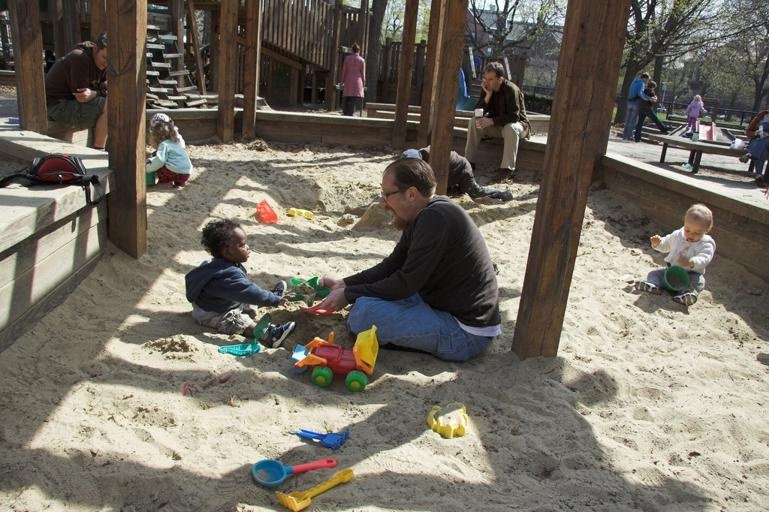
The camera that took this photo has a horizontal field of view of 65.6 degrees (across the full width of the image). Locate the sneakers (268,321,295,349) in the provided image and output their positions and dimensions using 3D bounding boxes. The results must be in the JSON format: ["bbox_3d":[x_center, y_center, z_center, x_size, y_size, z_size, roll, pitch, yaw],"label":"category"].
[{"bbox_3d":[-0.808,0.594,4.662,0.096,0.125,0.275,17,48,36],"label":"sneakers"}]

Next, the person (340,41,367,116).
[{"bbox_3d":[-0.702,-4.077,13.825,0.480,1.608,0.709,3,18,-7],"label":"person"}]

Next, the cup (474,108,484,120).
[{"bbox_3d":[1.434,-2.119,8.875,0.127,0.133,0.150,-2,9,-2],"label":"cup"}]

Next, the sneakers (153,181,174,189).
[{"bbox_3d":[-2.592,-0.844,7.016,0.217,0.064,0.153,-1,21,-20],"label":"sneakers"}]

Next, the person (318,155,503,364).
[{"bbox_3d":[0.161,-0.008,4.825,1.506,1.581,1.121,6,5,21],"label":"person"}]

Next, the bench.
[{"bbox_3d":[6.252,-2.078,11.905,1.406,0.698,3.791,15,21,24],"label":"bench"}]

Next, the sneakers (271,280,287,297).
[{"bbox_3d":[-0.895,0.316,5.124,0.084,0.217,0.079,-8,35,-36],"label":"sneakers"}]

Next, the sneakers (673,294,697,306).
[{"bbox_3d":[2.830,0.391,5.606,0.105,0.087,0.248,-10,15,-23],"label":"sneakers"}]

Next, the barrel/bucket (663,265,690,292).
[{"bbox_3d":[2.825,0.210,5.703,0.225,0.238,0.174,-26,-2,1],"label":"barrel/bucket"}]

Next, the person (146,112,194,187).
[{"bbox_3d":[-2.548,-1.246,7.047,0.480,0.784,0.647,0,20,-18],"label":"person"}]

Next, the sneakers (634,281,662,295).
[{"bbox_3d":[2.535,0.284,5.673,0.225,0.107,0.098,12,8,26],"label":"sneakers"}]

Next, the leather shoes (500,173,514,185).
[{"bbox_3d":[1.838,-1.152,8.745,0.145,0.081,0.206,-3,33,21],"label":"leather shoes"}]

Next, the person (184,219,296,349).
[{"bbox_3d":[-1.090,0.143,5.059,0.931,0.923,0.909,14,19,8],"label":"person"}]

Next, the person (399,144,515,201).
[{"bbox_3d":[1.022,-1.043,7.876,0.852,0.375,1.108,-8,30,-42],"label":"person"}]

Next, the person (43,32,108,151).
[{"bbox_3d":[-3.788,-2.041,7.324,0.691,1.359,0.574,-3,20,-24],"label":"person"}]

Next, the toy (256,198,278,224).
[{"bbox_3d":[-1.365,-0.519,6.851,0.224,0.106,0.305,-22,63,-27],"label":"toy"}]

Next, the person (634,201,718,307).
[{"bbox_3d":[2.832,-0.058,5.693,0.655,0.850,0.683,9,16,17],"label":"person"}]

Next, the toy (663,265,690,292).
[{"bbox_3d":[2.820,0.201,5.731,0.224,0.239,0.175,-19,-1,4],"label":"toy"}]
